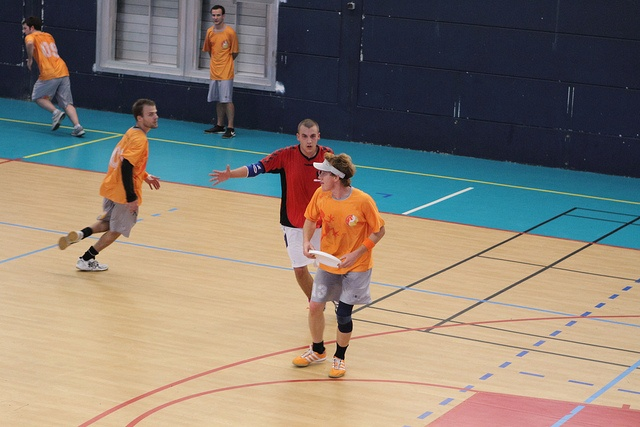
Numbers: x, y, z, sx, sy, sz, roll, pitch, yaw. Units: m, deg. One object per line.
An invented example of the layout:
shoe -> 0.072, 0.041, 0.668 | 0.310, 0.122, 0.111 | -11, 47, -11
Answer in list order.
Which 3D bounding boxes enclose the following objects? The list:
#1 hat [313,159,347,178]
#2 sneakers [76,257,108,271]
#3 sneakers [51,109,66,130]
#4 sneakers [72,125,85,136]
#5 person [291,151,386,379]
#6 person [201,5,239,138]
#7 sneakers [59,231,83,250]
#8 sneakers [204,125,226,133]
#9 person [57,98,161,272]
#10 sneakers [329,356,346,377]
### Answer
hat -> 0.099, -0.424, 6.519 | 0.257, 0.075, 0.155 | 26, 0, -4
sneakers -> -2.898, 0.624, 8.749 | 0.443, 0.187, 0.152 | 1, 33, -26
sneakers -> -5.729, -1.956, 14.905 | 0.262, 0.551, 0.192 | 33, 44, 6
sneakers -> -5.128, -1.742, 14.572 | 0.142, 0.162, 0.367 | -10, 13, -24
person -> 0.158, 0.519, 6.627 | 0.785, 2.164, 0.502 | 9, 15, 10
person -> -2.166, -3.178, 15.410 | 1.093, 2.849, 0.596 | 20, 19, 41
sneakers -> -3.154, 0.347, 8.638 | 0.180, 0.149, 0.431 | -20, -4, -40
sneakers -> -2.378, -1.937, 15.753 | 0.510, 0.189, 0.177 | -2, 6, -24
person -> -2.536, -0.315, 8.493 | 1.026, 2.206, 0.570 | 3, 15, -12
sneakers -> 0.173, 1.504, 6.745 | 0.108, 0.095, 0.230 | 1, 13, 7
